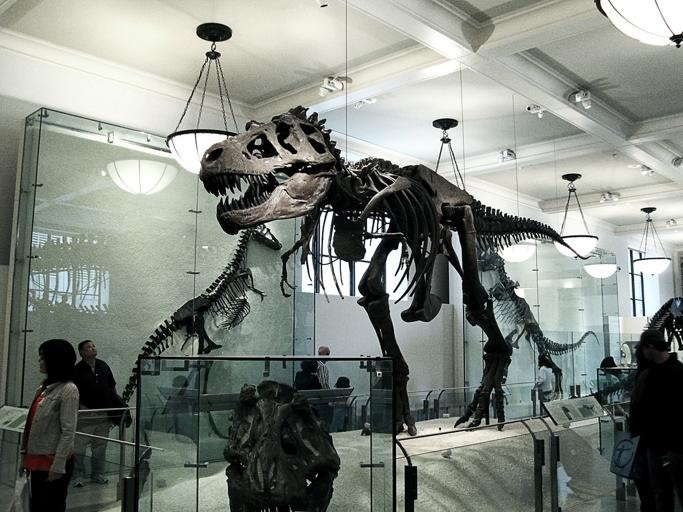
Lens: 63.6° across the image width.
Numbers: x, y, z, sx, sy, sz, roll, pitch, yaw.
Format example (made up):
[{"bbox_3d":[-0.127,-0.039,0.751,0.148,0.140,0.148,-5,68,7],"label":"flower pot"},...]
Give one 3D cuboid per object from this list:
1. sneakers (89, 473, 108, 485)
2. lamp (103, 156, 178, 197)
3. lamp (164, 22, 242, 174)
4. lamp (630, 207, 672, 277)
[{"bbox_3d":[-1.934,1.792,4.399,0.177,0.075,0.056,1,-3,-2],"label":"sneakers"},{"bbox_3d":[-2.356,-0.859,6.513,0.698,0.247,0.664,1,-2,11],"label":"lamp"},{"bbox_3d":[-1.714,-1.727,6.886,0.803,1.796,2.118,0,-10,-12],"label":"lamp"},{"bbox_3d":[7.718,-0.385,13.749,0.865,1.585,0.854,-5,-2,29],"label":"lamp"}]
